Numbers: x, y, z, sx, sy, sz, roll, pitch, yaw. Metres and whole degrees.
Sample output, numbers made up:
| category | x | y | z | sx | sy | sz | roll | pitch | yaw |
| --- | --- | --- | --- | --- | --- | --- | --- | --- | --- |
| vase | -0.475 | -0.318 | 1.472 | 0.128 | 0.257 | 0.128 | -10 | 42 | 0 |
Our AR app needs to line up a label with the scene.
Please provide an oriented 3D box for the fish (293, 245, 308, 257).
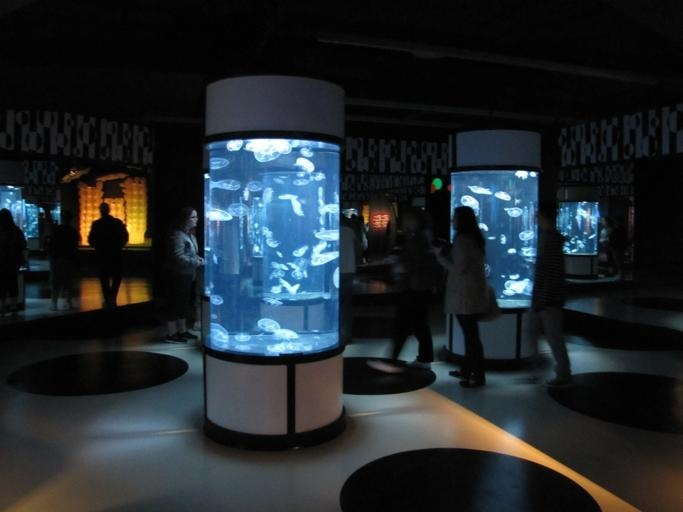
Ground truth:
| category | x | y | z | sx | sy | sz | roll | pitch | yaw |
| --- | --- | --- | --- | --- | --- | --- | --- | --- | --- |
| fish | -0.362 | -0.044 | 5.198 | 0.126 | 0.058 | 0.067 | -32 | 16 | -36 |

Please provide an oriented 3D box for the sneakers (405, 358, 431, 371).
| category | x | y | z | sx | sy | sz | roll | pitch | yaw |
| --- | --- | --- | --- | --- | --- | --- | --- | --- | --- |
| sneakers | 0.924 | 1.328 | 7.183 | 0.332 | 0.134 | 0.114 | 3 | -2 | 8 |

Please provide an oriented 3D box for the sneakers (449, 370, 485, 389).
| category | x | y | z | sx | sy | sz | roll | pitch | yaw |
| --- | --- | --- | --- | --- | --- | --- | --- | --- | --- |
| sneakers | 1.404 | 1.393 | 6.588 | 0.429 | 0.165 | 0.142 | 14 | -11 | -36 |

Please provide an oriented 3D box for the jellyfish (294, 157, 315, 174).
| category | x | y | z | sx | sy | sz | roll | pitch | yaw |
| --- | --- | --- | --- | --- | --- | --- | --- | --- | --- |
| jellyfish | -0.330 | -0.803 | 5.216 | 0.169 | 0.113 | 0.035 | 34 | -28 | -29 |

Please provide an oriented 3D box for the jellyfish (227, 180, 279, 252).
| category | x | y | z | sx | sy | sz | roll | pitch | yaw |
| --- | --- | --- | --- | --- | --- | --- | --- | --- | --- |
| jellyfish | -0.776 | -0.347 | 5.138 | 0.288 | 0.601 | 0.343 | 1 | 4 | -25 |

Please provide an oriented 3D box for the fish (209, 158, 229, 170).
| category | x | y | z | sx | sy | sz | roll | pitch | yaw |
| --- | --- | --- | --- | --- | --- | --- | --- | --- | --- |
| fish | -1.116 | -0.835 | 5.304 | 0.247 | 0.101 | 0.078 | 10 | 16 | 40 |

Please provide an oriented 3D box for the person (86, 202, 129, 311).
| category | x | y | z | sx | sy | sz | roll | pitch | yaw |
| --- | --- | --- | --- | --- | --- | --- | --- | --- | --- |
| person | -3.982 | 0.019 | 10.094 | 0.638 | 1.845 | 1.482 | -6 | 13 | -22 |

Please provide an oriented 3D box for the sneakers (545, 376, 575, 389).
| category | x | y | z | sx | sy | sz | roll | pitch | yaw |
| --- | --- | --- | --- | --- | --- | --- | --- | --- | --- |
| sneakers | 2.367 | 1.398 | 6.422 | 0.339 | 0.145 | 0.116 | 2 | 2 | 23 |

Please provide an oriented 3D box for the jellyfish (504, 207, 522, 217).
| category | x | y | z | sx | sy | sz | roll | pitch | yaw |
| --- | --- | --- | --- | --- | --- | --- | --- | --- | --- |
| jellyfish | 2.138 | -0.549 | 7.331 | 0.152 | 0.063 | 0.124 | -1 | 1 | 32 |

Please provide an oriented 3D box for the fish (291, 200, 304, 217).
| category | x | y | z | sx | sy | sz | roll | pitch | yaw |
| --- | --- | --- | --- | --- | --- | --- | --- | --- | --- |
| fish | -0.391 | -0.420 | 5.155 | 0.083 | 0.141 | 0.034 | -38 | 28 | -21 |

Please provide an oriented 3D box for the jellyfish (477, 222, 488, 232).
| category | x | y | z | sx | sy | sz | roll | pitch | yaw |
| --- | --- | --- | --- | --- | --- | --- | --- | --- | --- |
| jellyfish | 1.763 | -0.362 | 7.303 | 0.132 | 0.131 | 0.030 | -14 | -1 | 0 |

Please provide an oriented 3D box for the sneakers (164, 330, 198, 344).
| category | x | y | z | sx | sy | sz | roll | pitch | yaw |
| --- | --- | --- | --- | --- | --- | --- | --- | --- | --- |
| sneakers | -2.274 | 1.150 | 8.285 | 0.497 | 0.191 | 0.166 | 2 | -5 | -21 |

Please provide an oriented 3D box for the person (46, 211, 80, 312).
| category | x | y | z | sx | sy | sz | roll | pitch | yaw |
| --- | --- | --- | --- | --- | --- | --- | --- | --- | --- |
| person | -4.758 | 0.074 | 10.130 | 0.600 | 2.429 | 0.497 | 2 | 8 | -20 |

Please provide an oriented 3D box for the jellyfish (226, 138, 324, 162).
| category | x | y | z | sx | sy | sz | roll | pitch | yaw |
| --- | --- | --- | --- | --- | --- | --- | --- | --- | --- |
| jellyfish | -0.607 | -0.946 | 5.253 | 0.841 | 0.201 | 0.216 | -2 | 12 | -5 |

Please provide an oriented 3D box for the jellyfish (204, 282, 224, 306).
| category | x | y | z | sx | sy | sz | roll | pitch | yaw |
| --- | --- | --- | --- | --- | --- | --- | --- | --- | --- |
| jellyfish | -1.176 | 0.352 | 5.421 | 0.125 | 0.146 | 0.294 | 7 | 19 | -32 |

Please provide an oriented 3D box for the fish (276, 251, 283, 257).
| category | x | y | z | sx | sy | sz | roll | pitch | yaw |
| --- | --- | --- | --- | --- | --- | --- | --- | --- | --- |
| fish | -0.546 | -0.014 | 5.139 | 0.048 | 0.048 | 0.009 | 15 | 8 | -2 |

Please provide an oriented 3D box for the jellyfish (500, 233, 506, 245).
| category | x | y | z | sx | sy | sz | roll | pitch | yaw |
| --- | --- | --- | --- | --- | --- | --- | --- | --- | --- |
| jellyfish | 2.012 | -0.210 | 7.339 | 0.078 | 0.116 | 0.028 | -1 | 4 | 2 |
